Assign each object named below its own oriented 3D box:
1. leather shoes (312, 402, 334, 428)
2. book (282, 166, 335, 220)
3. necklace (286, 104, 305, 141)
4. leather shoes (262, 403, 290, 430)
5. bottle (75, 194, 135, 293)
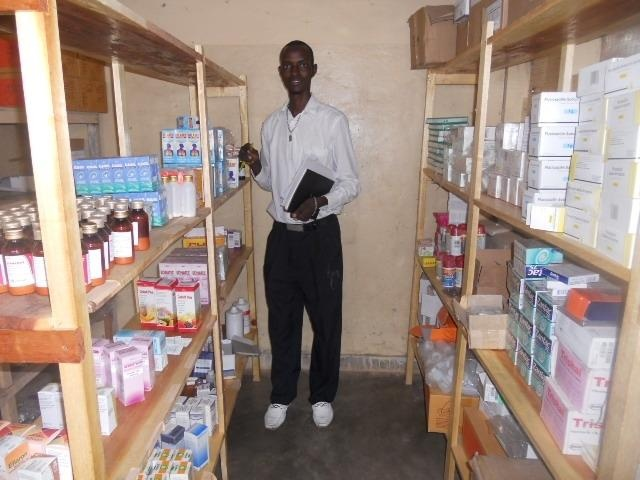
[{"bbox_3d":[0.017,1.146,3.134,0.112,0.147,0.044,-3,-8,3],"label":"leather shoes"},{"bbox_3d":[-0.083,-0.293,2.722,0.070,0.264,0.268,40,16,35],"label":"book"},{"bbox_3d":[-0.154,-0.718,2.995,0.042,0.161,0.122,8,-7,-41],"label":"necklace"},{"bbox_3d":[-0.295,1.151,3.138,0.095,0.072,0.161,2,26,9],"label":"leather shoes"},{"bbox_3d":[-0.664,0.017,1.490,0.097,0.185,0.306,0,13,-4],"label":"bottle"}]
